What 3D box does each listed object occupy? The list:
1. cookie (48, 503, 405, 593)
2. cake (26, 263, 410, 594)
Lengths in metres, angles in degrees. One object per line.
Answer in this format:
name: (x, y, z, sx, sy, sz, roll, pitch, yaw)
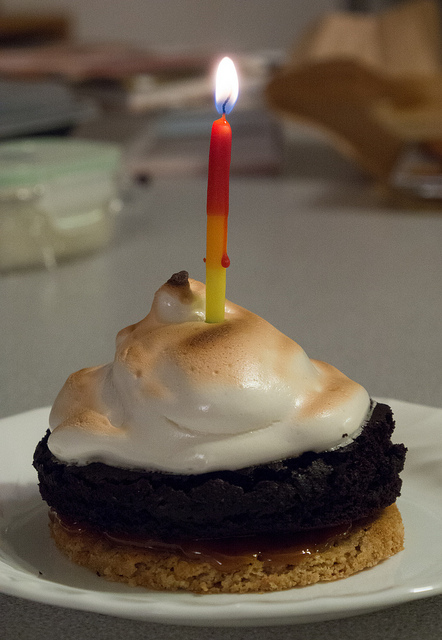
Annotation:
cookie: (0.052, 0.297, 0.967, 0.311, 0.031, 0.327, -3, -6, 19)
cake: (-0.006, 0.121, 0.980, 0.493, 0.269, 0.437, -5, 12, -16)
